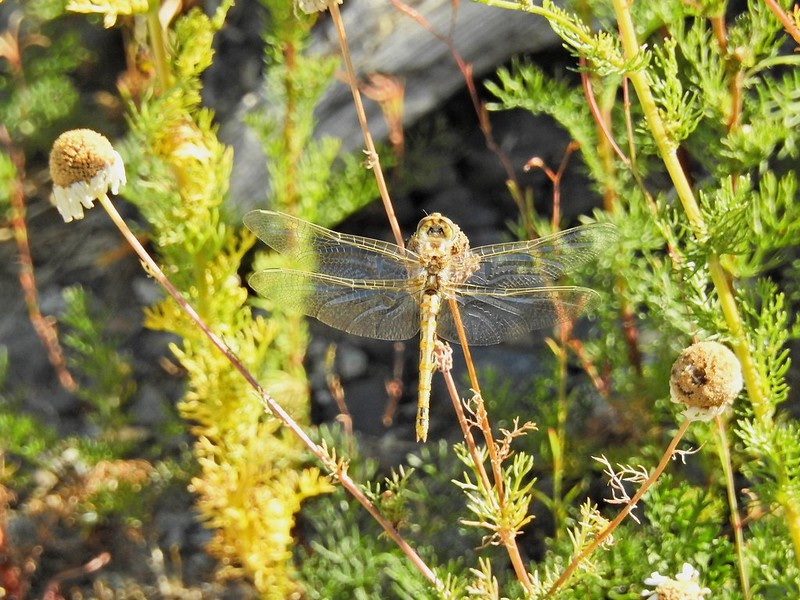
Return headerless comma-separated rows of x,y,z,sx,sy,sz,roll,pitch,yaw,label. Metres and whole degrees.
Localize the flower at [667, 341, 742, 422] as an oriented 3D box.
0.720,0.187,2.173,0.153,0.200,0.181,4,-2,11,flower
